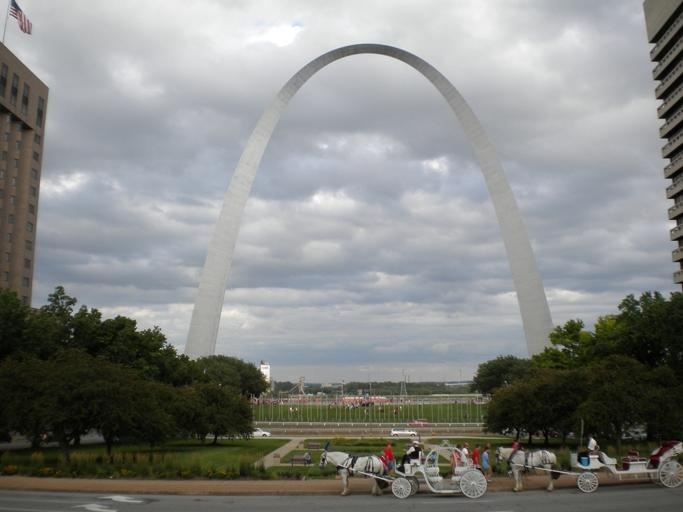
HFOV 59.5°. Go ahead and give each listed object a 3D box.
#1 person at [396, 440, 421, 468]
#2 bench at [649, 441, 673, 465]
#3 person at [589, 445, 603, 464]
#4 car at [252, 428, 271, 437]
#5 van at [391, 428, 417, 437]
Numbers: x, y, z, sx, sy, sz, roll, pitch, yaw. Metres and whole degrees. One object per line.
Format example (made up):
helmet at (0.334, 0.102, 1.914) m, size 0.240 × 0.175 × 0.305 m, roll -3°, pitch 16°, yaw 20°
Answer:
person at (3.624, 10.073, 30.210) m, size 1.090 × 1.153 × 1.278 m, roll -9°, pitch -19°, yaw 24°
bench at (16.352, 10.064, 30.457) m, size 1.230 × 1.122 × 0.730 m, roll -9°, pitch -19°, yaw 24°
person at (12.916, 10.132, 30.453) m, size 0.861 × 0.688 × 0.483 m, roll 12°, pitch -21°, yaw -35°
car at (-9.109, 20.440, 69.280) m, size 1.803 × 1.080 × 8.150 m, roll 1°, pitch -17°, yaw -5°
van at (7.143, 20.226, 67.595) m, size 2.763 × 0.919 × 1.373 m, roll -3°, pitch -11°, yaw 5°
